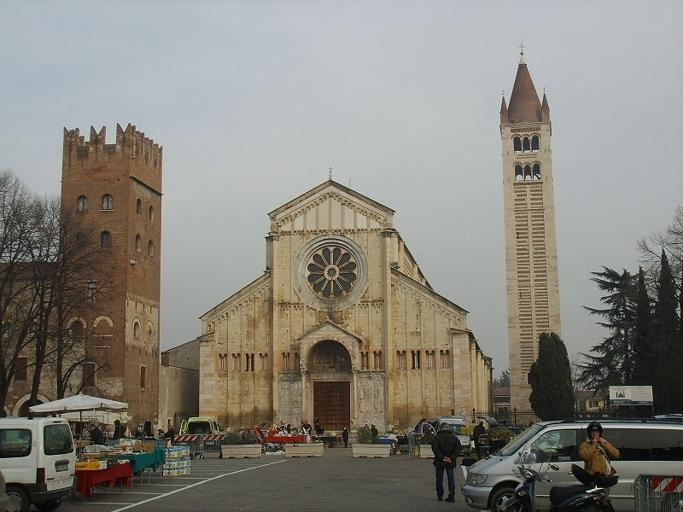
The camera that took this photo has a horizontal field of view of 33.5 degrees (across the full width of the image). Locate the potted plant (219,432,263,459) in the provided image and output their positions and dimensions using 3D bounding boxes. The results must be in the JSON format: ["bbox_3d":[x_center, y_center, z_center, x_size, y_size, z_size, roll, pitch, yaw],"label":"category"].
[{"bbox_3d":[-5.295,10.006,60.260,1.457,0.886,1.457,-1,-17,4],"label":"potted plant"}]

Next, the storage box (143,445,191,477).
[{"bbox_3d":[-7.634,8.911,48.979,1.402,0.953,1.984,-1,-7,19],"label":"storage box"}]

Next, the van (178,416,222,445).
[{"bbox_3d":[-8.506,10.242,66.916,1.445,1.125,2.299,0,-5,2],"label":"van"}]
